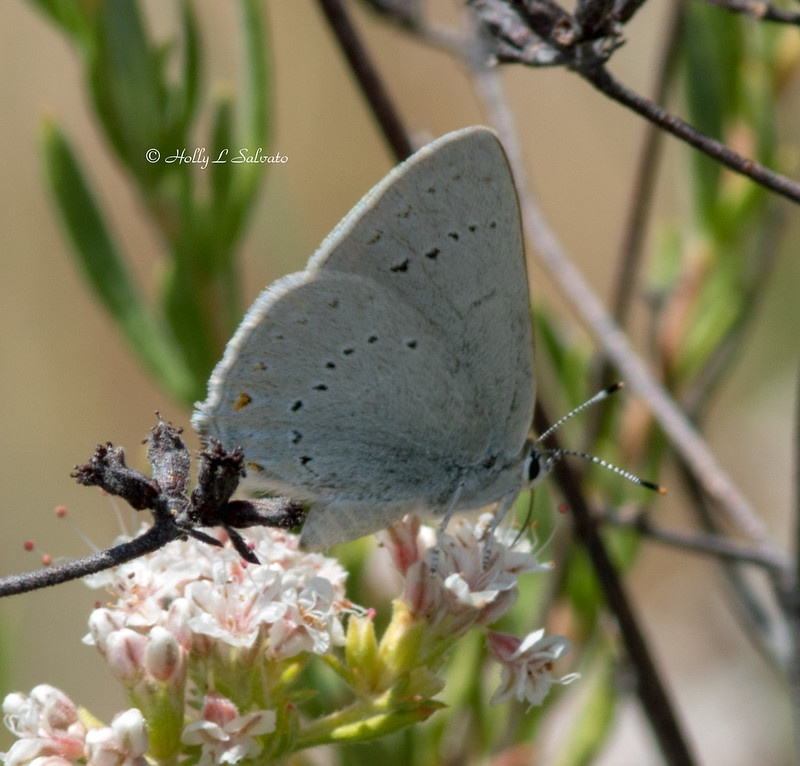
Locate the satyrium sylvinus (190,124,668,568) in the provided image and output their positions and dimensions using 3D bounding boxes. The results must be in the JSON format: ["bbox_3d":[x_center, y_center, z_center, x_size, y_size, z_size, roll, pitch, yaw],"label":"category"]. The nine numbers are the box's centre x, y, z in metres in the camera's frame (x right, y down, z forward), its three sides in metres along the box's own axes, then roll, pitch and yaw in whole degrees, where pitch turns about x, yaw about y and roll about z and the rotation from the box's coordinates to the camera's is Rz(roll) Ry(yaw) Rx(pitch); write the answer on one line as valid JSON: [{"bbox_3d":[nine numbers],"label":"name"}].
[{"bbox_3d":[0.075,-0.042,2.225,0.662,0.539,0.703,-3,-19,16],"label":"satyrium sylvinus"}]
